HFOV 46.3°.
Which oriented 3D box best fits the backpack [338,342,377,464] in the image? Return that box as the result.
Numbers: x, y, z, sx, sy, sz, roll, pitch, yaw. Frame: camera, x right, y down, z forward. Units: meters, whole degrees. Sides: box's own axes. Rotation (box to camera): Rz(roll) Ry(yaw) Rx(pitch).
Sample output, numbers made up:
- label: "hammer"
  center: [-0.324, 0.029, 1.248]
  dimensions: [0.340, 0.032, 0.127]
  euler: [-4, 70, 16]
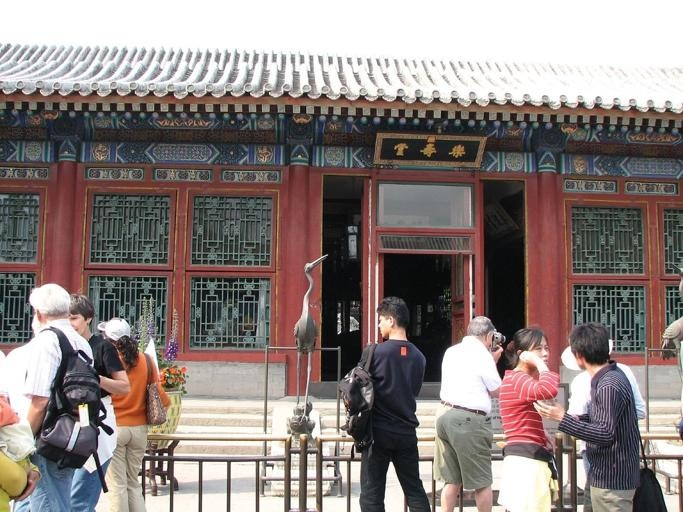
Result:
- label: "backpack"
  center: [0.151, 1.307, 7.306]
  dimensions: [0.314, 1.000, 0.340]
  euler: [-2, -10, 5]

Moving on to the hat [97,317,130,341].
- label: "hat"
  center: [-2.225, 0.692, 7.770]
  dimensions: [0.261, 0.156, 0.204]
  euler: [16, 4, 15]

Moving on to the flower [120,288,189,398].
- label: "flower"
  center: [-2.221, 1.281, 9.913]
  dimensions: [0.489, 1.033, 0.568]
  euler: [-17, 0, -27]
